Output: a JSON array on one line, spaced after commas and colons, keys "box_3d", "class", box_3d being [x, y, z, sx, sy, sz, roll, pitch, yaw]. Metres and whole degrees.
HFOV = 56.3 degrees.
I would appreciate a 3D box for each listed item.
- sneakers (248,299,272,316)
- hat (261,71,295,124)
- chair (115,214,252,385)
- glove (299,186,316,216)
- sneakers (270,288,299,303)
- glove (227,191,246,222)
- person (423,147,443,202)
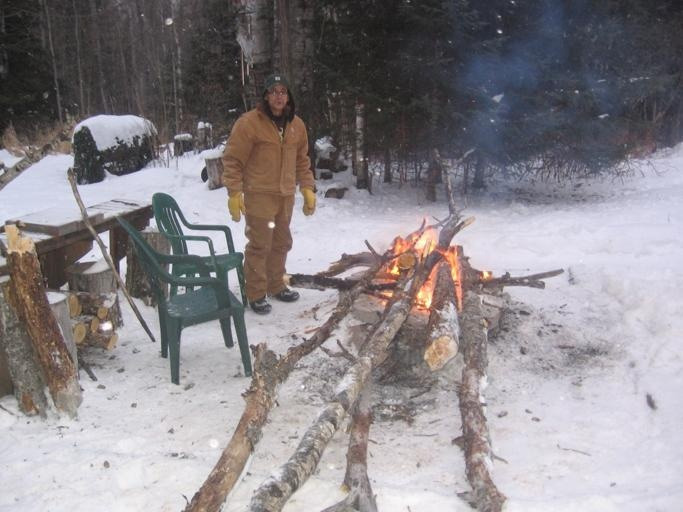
[{"box_3d": [-1.046, 0.660, 8.308, 0.153, 0.128, 0.264, -7, 12, -28], "class": "sneakers"}, {"box_3d": [-0.805, -1.959, 8.021, 0.356, 0.607, 0.420, 2, 8, 14], "class": "hat"}, {"box_3d": [-1.736, 0.460, 7.306, 1.180, 1.905, 1.122, -4, 15, -13], "class": "chair"}, {"box_3d": [-0.440, -0.730, 8.590, 0.135, 0.351, 0.232, 6, 9, -16], "class": "glove"}, {"box_3d": [-0.759, 0.527, 8.707, 0.287, 0.149, 0.181, 2, 20, 21], "class": "sneakers"}, {"box_3d": [-1.293, -0.616, 8.032, 0.221, 0.356, 0.111, -12, -1, 21], "class": "glove"}, {"box_3d": [2.187, -1.815, 14.211, 0.278, 0.306, 1.364, 13, 60, -1], "class": "person"}]
